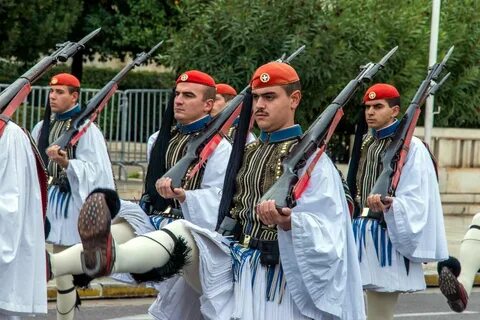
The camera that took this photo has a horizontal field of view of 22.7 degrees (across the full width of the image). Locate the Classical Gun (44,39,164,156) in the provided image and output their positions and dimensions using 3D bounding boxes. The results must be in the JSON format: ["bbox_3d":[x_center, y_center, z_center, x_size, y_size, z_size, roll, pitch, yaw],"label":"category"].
[{"bbox_3d":[-2.956,-1.352,25.591,4.621,0.921,0.414,-40,-12,-34],"label":"Classical Gun"}]

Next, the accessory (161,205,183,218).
[{"bbox_3d":[-1.122,0.857,19.716,0.254,0.166,0.108,7,-38,11],"label":"accessory"}]

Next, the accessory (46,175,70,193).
[{"bbox_3d":[-3.214,0.418,21.090,0.342,0.213,0.269,0,0,29],"label":"accessory"}]

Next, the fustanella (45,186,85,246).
[{"bbox_3d":[-3.118,1.005,21.002,0.708,1.040,0.386,3,-4,-2],"label":"fustanella"}]
